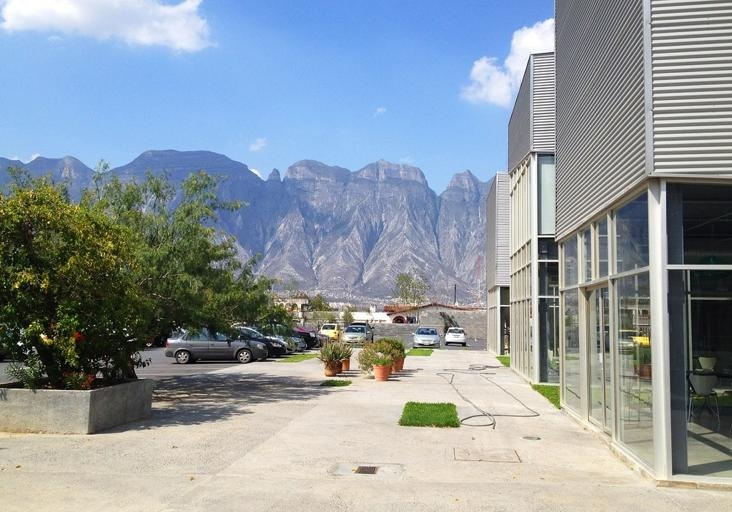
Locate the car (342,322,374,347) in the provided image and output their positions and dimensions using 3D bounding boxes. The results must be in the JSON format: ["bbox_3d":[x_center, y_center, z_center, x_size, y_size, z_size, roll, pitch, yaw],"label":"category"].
[{"bbox_3d":[-0.693,5.572,42.973,1.454,1.262,3.522,-2,-10,6],"label":"car"}]

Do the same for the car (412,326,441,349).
[{"bbox_3d":[4.688,6.313,45.846,1.919,1.463,2.427,-2,-8,9],"label":"car"}]

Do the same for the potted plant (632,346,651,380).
[{"bbox_3d":[4.515,1.722,9.646,0.347,0.510,0.389,-1,-3,1],"label":"potted plant"}]
